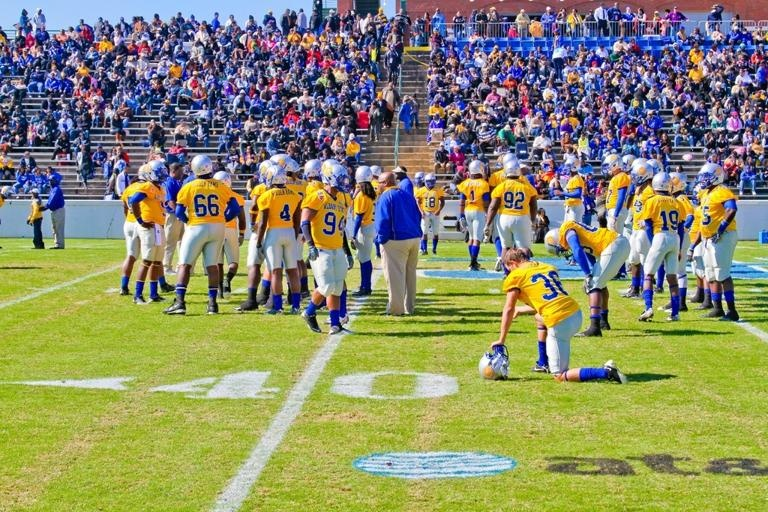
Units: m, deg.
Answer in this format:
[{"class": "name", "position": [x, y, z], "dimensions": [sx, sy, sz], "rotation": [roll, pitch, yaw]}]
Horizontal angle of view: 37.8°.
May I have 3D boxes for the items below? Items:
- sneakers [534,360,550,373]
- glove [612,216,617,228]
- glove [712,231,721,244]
[{"class": "sneakers", "position": [2.266, 1.605, 16.143], "dimensions": [0.102, 0.116, 0.263], "rotation": [-1, 5, -25]}, {"class": "glove", "position": [4.414, -0.640, 21.550], "dimensions": [0.051, 0.161, 0.123], "rotation": [12, 5, 15]}, {"class": "glove", "position": [5.575, -0.314, 18.850], "dimensions": [0.083, 0.188, 0.070], "rotation": [30, 28, -3]}]
